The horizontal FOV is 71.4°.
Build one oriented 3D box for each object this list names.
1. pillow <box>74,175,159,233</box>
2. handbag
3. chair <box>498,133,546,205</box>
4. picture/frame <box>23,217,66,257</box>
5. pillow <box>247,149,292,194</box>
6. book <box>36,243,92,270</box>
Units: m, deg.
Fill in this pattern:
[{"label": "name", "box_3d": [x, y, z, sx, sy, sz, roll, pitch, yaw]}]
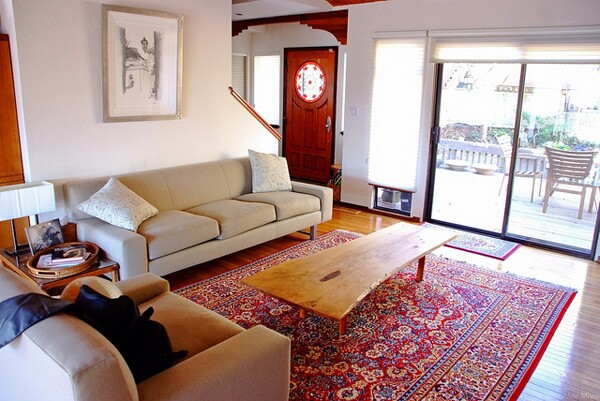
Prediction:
[{"label": "pillow", "box_3d": [-1.868, 0.021, 4.261, 0.655, 0.451, 0.536, 4, 15, 9]}, {"label": "handbag", "box_3d": [-1.026, 0.747, 2.442, 0.579, 0.475, 0.255, 7, 17, 17]}, {"label": "chair", "box_3d": [2.972, -0.462, 5.519, 0.498, 0.664, 0.488, 15, 3, 21]}, {"label": "picture/frame", "box_3d": [-2.397, 0.349, 3.937, 0.310, 0.276, 0.032, -23, 15, -38]}, {"label": "pillow", "box_3d": [-0.394, -0.372, 5.586, 0.618, 0.535, 0.223, 1, -7, -40]}, {"label": "book", "box_3d": [-2.110, 0.510, 3.742, 0.241, 0.053, 0.237, 8, 21, 22]}]
